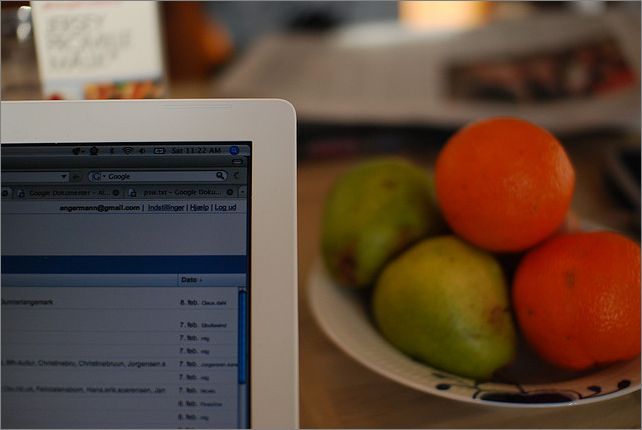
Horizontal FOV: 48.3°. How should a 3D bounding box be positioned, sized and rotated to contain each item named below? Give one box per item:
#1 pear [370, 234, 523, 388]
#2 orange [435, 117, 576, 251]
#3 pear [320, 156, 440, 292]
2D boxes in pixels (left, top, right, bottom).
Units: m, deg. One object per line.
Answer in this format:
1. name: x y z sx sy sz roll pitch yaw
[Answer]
1. pear: 0.144 0.109 0.859 0.165 0.127 0.123 37 79 4
2. orange: 0.206 -0.030 0.843 0.122 0.149 0.164 -5 98 -35
3. pear: 0.078 0.005 0.920 0.131 0.119 0.156 6 97 13
